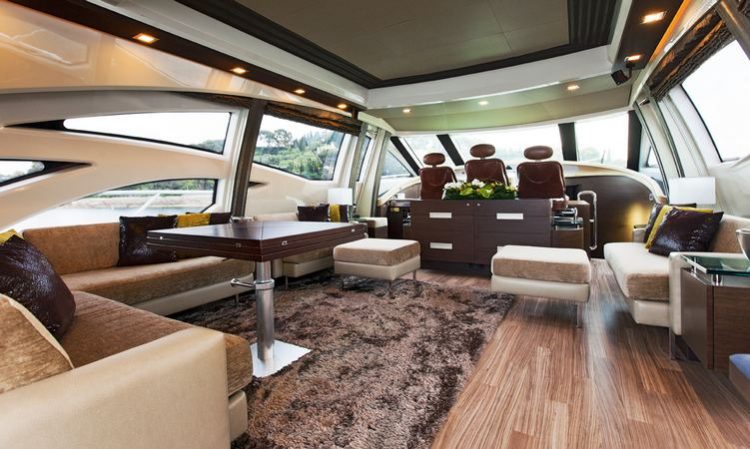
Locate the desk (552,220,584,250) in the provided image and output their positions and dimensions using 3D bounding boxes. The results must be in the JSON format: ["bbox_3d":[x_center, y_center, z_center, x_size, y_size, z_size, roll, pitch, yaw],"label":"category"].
[{"bbox_3d":[2.841,0.093,5.901,0.440,0.401,0.393,18,46,33],"label":"desk"}]

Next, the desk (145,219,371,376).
[{"bbox_3d":[-1.068,0.708,4.189,1.792,1.261,1.685,4,10,27],"label":"desk"}]

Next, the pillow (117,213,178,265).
[{"bbox_3d":[-2.744,0.182,4.705,0.814,0.617,0.202,1,-15,-24],"label":"pillow"}]

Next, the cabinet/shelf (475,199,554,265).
[{"bbox_3d":[1.906,0.076,5.371,1.128,0.828,0.544,-1,-3,23],"label":"cabinet/shelf"}]

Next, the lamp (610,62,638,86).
[{"bbox_3d":[3.550,-2.124,5.685,0.172,0.237,0.261,-1,21,-16],"label":"lamp"}]

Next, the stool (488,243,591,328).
[{"bbox_3d":[1.868,0.502,4.547,1.298,0.676,0.841,0,1,22],"label":"stool"}]

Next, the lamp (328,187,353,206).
[{"bbox_3d":[-0.605,-0.483,7.122,0.605,0.342,0.291,0,-3,-2],"label":"lamp"}]

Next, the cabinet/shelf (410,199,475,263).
[{"bbox_3d":[1.323,0.127,6.314,1.340,1.023,0.940,1,4,41],"label":"cabinet/shelf"}]

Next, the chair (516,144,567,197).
[{"bbox_3d":[2.596,-0.667,6.385,0.844,0.781,0.841,1,-3,11],"label":"chair"}]

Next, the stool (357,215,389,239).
[{"bbox_3d":[-0.034,0.040,7.490,0.486,0.309,0.460,2,5,34],"label":"stool"}]

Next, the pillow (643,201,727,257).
[{"bbox_3d":[3.299,0.076,4.254,0.207,0.581,0.667,27,-3,-11],"label":"pillow"}]

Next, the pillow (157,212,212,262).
[{"bbox_3d":[-1.993,0.140,4.177,0.666,0.614,0.249,-3,0,-34],"label":"pillow"}]

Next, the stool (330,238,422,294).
[{"bbox_3d":[0.018,0.553,5.571,1.134,0.504,1.174,-6,4,-33],"label":"stool"}]

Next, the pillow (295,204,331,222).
[{"bbox_3d":[-0.999,-0.184,6.585,0.383,0.197,0.102,-1,-28,-6],"label":"pillow"}]
